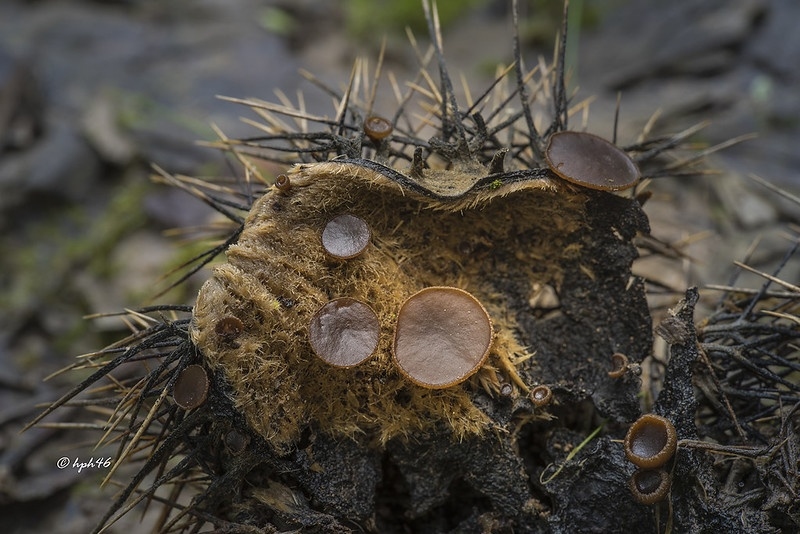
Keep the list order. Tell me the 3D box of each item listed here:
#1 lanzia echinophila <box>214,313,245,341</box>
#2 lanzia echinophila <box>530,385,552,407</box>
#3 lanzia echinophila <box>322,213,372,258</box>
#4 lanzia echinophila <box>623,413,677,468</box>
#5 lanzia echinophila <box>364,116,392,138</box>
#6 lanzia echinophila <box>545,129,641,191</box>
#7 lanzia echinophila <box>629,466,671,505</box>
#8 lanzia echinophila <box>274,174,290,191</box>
[{"bbox_3d":[-1.388,0.493,7.903,0.206,0.117,0.175,-42,68,-11],"label":"lanzia echinophila"},{"bbox_3d":[1.169,1.062,8.128,0.176,0.076,0.158,-8,66,4],"label":"lanzia echinophila"},{"bbox_3d":[-0.461,-0.251,8.268,0.409,0.168,0.359,-38,68,-9],"label":"lanzia echinophila"},{"bbox_3d":[2.040,1.415,7.931,0.390,0.159,0.432,20,71,15],"label":"lanzia echinophila"},{"bbox_3d":[-0.190,-1.171,8.215,0.212,0.077,0.178,11,80,-2],"label":"lanzia echinophila"},{"bbox_3d":[1.613,-0.888,8.172,0.791,0.229,0.468,10,69,11],"label":"lanzia echinophila"},{"bbox_3d":[2.029,1.767,7.901,0.336,0.134,0.286,-14,71,22],"label":"lanzia echinophila"},{"bbox_3d":[-0.973,-0.695,8.149,0.133,0.123,0.118,24,87,3],"label":"lanzia echinophila"}]
